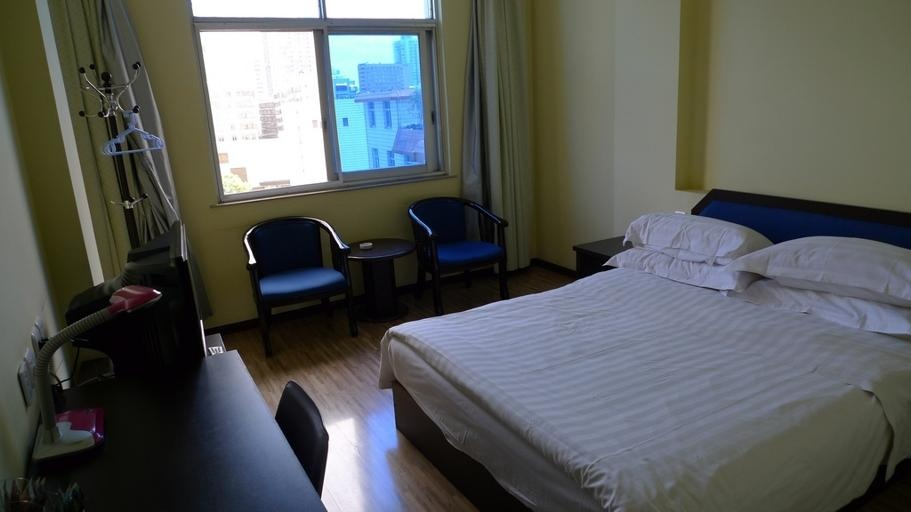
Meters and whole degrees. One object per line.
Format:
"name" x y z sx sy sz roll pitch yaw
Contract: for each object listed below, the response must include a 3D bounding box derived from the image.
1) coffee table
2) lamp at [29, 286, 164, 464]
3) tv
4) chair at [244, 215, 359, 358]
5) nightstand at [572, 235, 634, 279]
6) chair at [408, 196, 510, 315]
"coffee table" -0.736 0.183 6.133 0.754 0.749 0.798 -10 22 -21
"lamp" -1.877 0.609 3.097 0.339 0.751 0.753 2 -3 2
"tv" -1.836 0.256 3.590 0.705 0.643 0.937 0 17 -25
"chair" -1.487 0.307 5.670 0.984 1.133 0.848 -11 24 -23
"nightstand" 1.342 -0.034 5.481 0.398 0.365 0.393 -24 32 -33
"chair" 0.080 -0.175 6.344 1.126 1.230 0.996 -9 17 -19
